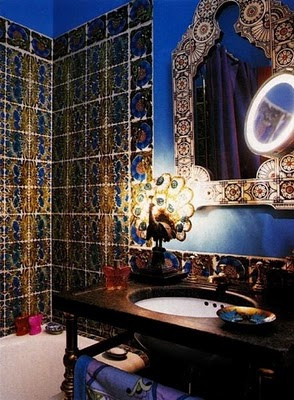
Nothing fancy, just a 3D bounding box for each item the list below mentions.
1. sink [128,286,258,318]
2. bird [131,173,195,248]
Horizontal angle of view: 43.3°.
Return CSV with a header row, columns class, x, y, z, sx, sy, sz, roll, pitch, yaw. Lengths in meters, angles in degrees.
class,x,y,z,sx,sy,sz,roll,pitch,yaw
sink,0.160,0.354,1.237,0.419,0.088,0.176,-3,2,20
bird,0.070,0.044,1.595,0.276,0.295,0.166,1,-3,38
